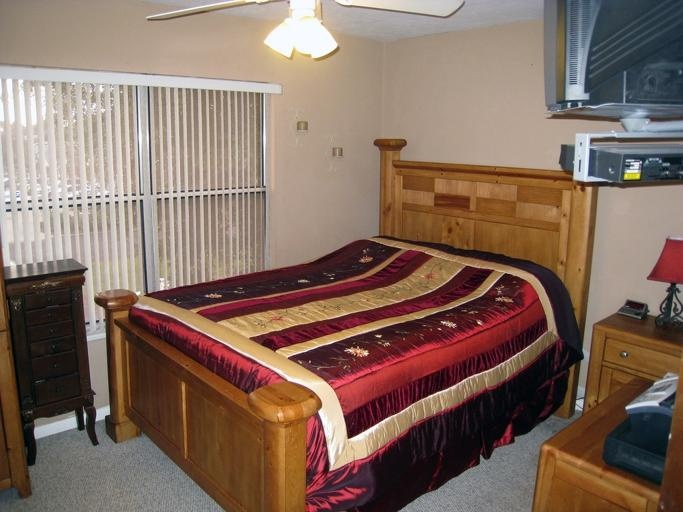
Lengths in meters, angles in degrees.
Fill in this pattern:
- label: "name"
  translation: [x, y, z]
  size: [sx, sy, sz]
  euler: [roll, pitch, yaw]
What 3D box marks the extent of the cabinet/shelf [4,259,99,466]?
- label: "cabinet/shelf"
  translation: [-1.930, 0.705, 3.495]
  size: [0.479, 1.304, 0.311]
  euler: [-7, 13, -28]
